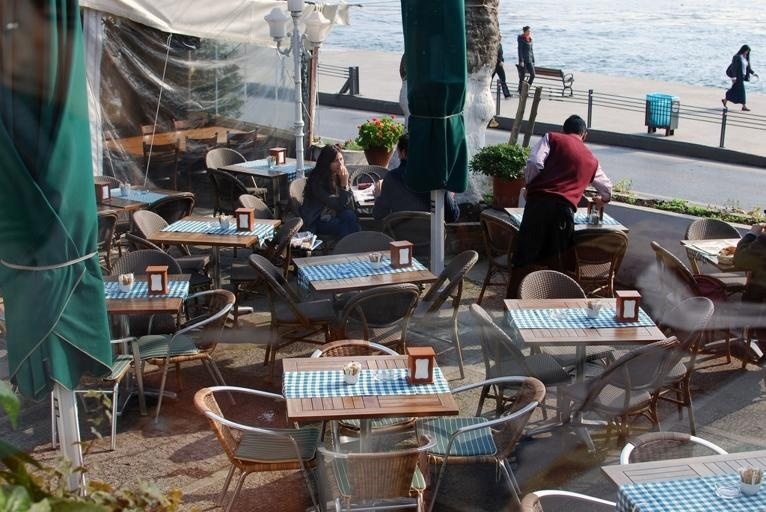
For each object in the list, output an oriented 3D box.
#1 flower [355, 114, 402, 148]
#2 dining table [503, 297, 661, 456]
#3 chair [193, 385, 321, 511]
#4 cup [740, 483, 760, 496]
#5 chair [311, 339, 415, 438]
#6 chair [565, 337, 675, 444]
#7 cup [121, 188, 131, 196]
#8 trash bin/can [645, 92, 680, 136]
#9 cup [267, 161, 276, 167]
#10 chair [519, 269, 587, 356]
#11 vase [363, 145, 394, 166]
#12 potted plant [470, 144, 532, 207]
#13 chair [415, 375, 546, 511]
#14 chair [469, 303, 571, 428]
[{"bbox_3d":[-0.050,-2.031,11.956,0.569,0.429,0.610,7,15,26],"label":"flower"},{"bbox_3d":[1.734,1.024,6.635,1.120,1.101,1.164,-1,31,2],"label":"dining table"},{"bbox_3d":[-0.919,1.434,5.786,0.981,1.131,0.972,-4,17,-10],"label":"chair"},{"bbox_3d":[2.234,1.424,4.427,0.083,0.053,0.081,-3,3,0],"label":"cup"},{"bbox_3d":[-0.175,0.960,5.946,0.798,1.019,0.756,-3,10,-19],"label":"chair"},{"bbox_3d":[1.998,1.150,6.080,0.551,0.728,0.561,-16,37,-16],"label":"chair"},{"bbox_3d":[-3.586,-0.897,10.152,0.092,0.102,0.095,1,5,0],"label":"cup"},{"bbox_3d":[7.371,-3.732,19.247,0.876,0.963,0.705,14,24,29],"label":"trash bin/can"},{"bbox_3d":[-1.777,-1.484,11.634,0.089,0.116,0.115,0,2,-4],"label":"cup"},{"bbox_3d":[1.636,0.423,6.936,0.376,0.449,0.384,-8,21,-15],"label":"chair"},{"bbox_3d":[-0.075,-1.677,12.033,0.365,0.273,0.380,6,30,9],"label":"vase"},{"bbox_3d":[1.618,-1.240,10.129,0.911,1.054,0.793,2,21,8],"label":"potted plant"},{"bbox_3d":[0.722,1.386,5.699,1.047,0.945,0.903,1,8,-1],"label":"chair"},{"bbox_3d":[1.234,0.775,6.422,0.796,1.079,0.781,-11,28,-5],"label":"chair"}]
